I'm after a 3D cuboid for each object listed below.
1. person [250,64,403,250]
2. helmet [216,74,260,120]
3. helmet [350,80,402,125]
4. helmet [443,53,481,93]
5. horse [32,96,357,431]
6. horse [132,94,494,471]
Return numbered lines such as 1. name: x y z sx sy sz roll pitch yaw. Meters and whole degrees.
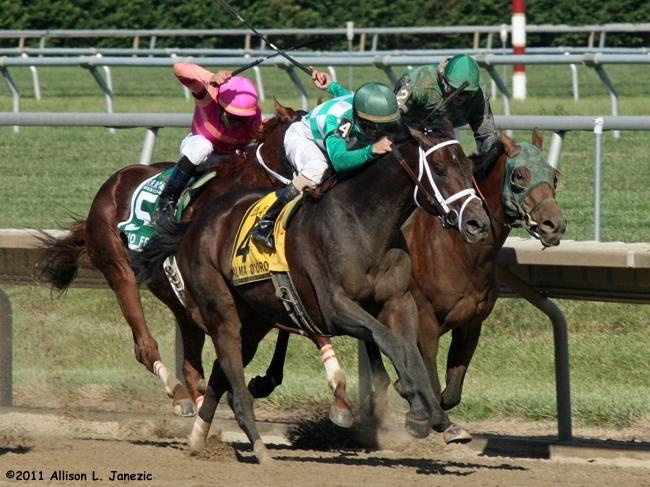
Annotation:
1. person: 0.071 -0.472 7.237 1.125 0.537 0.726 -20 17 50
2. helmet: -0.579 -0.997 8.017 0.295 0.207 0.405 11 32 -17
3. helmet: 0.295 -0.819 6.990 0.265 0.172 0.342 -13 31 -17
4. helmet: 0.867 -1.094 7.713 0.278 0.196 0.361 3 30 -5
5. horse: -0.818 0.223 8.123 0.809 1.975 3.145 -16 18 -34
6. horse: -0.027 0.360 7.356 0.814 1.902 2.759 5 -13 -41
